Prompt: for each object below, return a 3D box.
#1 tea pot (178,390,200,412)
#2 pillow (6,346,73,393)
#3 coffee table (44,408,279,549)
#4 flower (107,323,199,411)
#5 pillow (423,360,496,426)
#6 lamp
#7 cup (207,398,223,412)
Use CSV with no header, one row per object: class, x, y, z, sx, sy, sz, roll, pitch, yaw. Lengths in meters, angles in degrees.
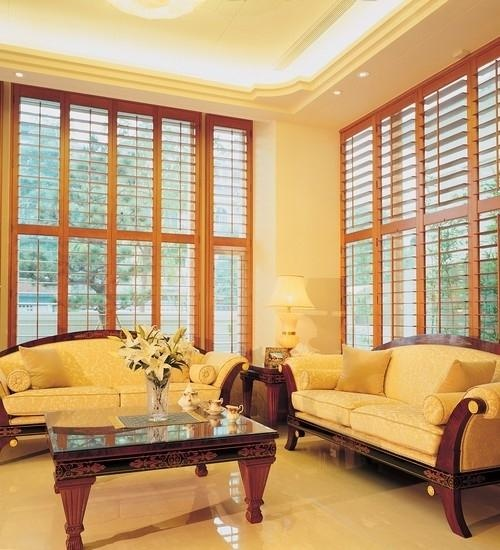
tea pot,-0.398,0.777,3.016,0.143,0.084,0.133,0,-4,0
pillow,-1.573,0.689,3.648,0.448,0.302,0.634,3,-7,-19
coffee table,-0.457,0.959,2.437,1.045,0.407,0.689,3,-7,-22
flower,-0.533,0.530,2.726,0.287,0.490,0.362,-4,-8,30
pillow,1.046,0.583,2.392,0.342,0.210,0.174,-15,19,-40
lamp,0.399,0.334,4.556,0.378,0.724,0.662,0,-7,4
cup,-0.211,0.766,2.838,0.111,0.065,0.102,0,3,0
